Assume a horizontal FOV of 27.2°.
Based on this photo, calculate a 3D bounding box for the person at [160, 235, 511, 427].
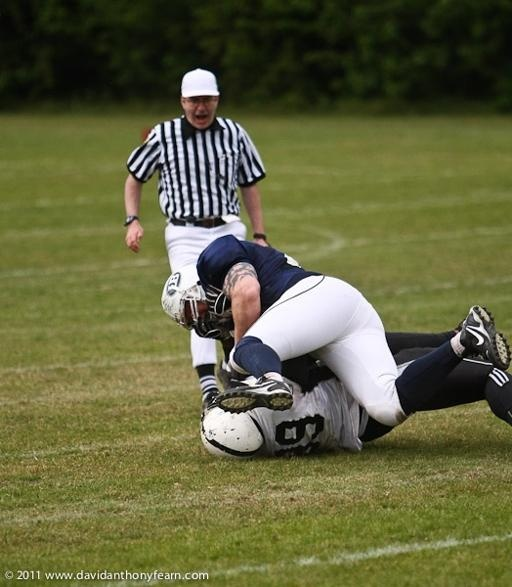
[{"bbox_3d":[0.230,0.187,4.277,1.340,0.766,0.973,10,16,39],"label":"person"}]

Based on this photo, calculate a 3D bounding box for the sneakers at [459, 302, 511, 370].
[{"bbox_3d":[0.893,0.183,4.112,0.190,0.237,0.187,2,13,13],"label":"sneakers"}]

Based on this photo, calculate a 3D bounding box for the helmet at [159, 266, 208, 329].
[{"bbox_3d":[-0.298,0.011,4.581,0.242,0.178,0.243,8,43,-5],"label":"helmet"}]

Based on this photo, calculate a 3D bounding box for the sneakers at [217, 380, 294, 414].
[{"bbox_3d":[0.011,0.375,4.009,0.334,0.103,0.153,0,22,17],"label":"sneakers"}]

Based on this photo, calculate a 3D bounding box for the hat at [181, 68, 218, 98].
[{"bbox_3d":[-0.297,-1.116,5.622,0.186,0.147,0.219,-1,12,-3],"label":"hat"}]

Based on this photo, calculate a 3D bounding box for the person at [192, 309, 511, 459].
[{"bbox_3d":[0.362,0.461,4.335,1.034,0.597,0.285,-12,62,-15],"label":"person"}]

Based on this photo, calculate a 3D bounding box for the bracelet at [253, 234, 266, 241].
[{"bbox_3d":[0.023,-0.305,5.768,0.049,0.030,0.049,4,3,29],"label":"bracelet"}]

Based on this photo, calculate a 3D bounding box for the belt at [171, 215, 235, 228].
[{"bbox_3d":[-0.299,-0.368,5.550,0.293,0.063,0.075,-1,12,-3],"label":"belt"}]

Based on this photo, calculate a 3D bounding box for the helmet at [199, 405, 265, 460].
[{"bbox_3d":[-0.108,0.582,4.395,0.270,0.161,0.183,7,7,-1],"label":"helmet"}]
